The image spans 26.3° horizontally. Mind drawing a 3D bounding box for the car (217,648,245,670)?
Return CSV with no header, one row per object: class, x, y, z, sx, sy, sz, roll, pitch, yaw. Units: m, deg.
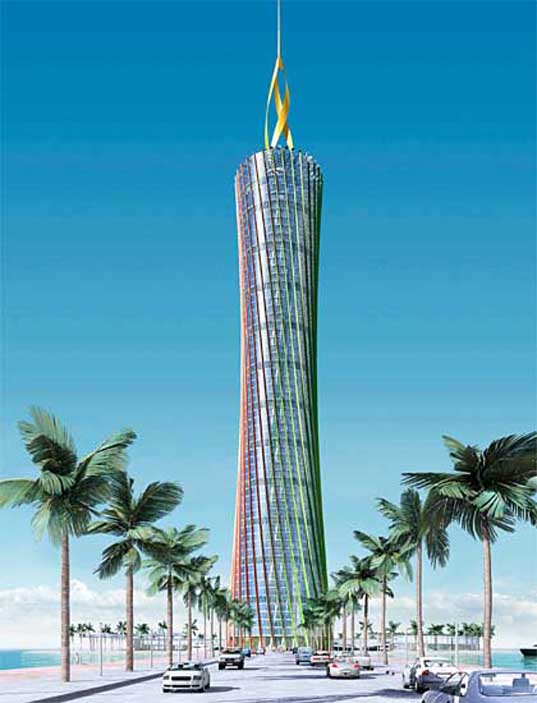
car,-1.977,15.810,59.579,0.953,0.701,1.740,-2,-27,2
